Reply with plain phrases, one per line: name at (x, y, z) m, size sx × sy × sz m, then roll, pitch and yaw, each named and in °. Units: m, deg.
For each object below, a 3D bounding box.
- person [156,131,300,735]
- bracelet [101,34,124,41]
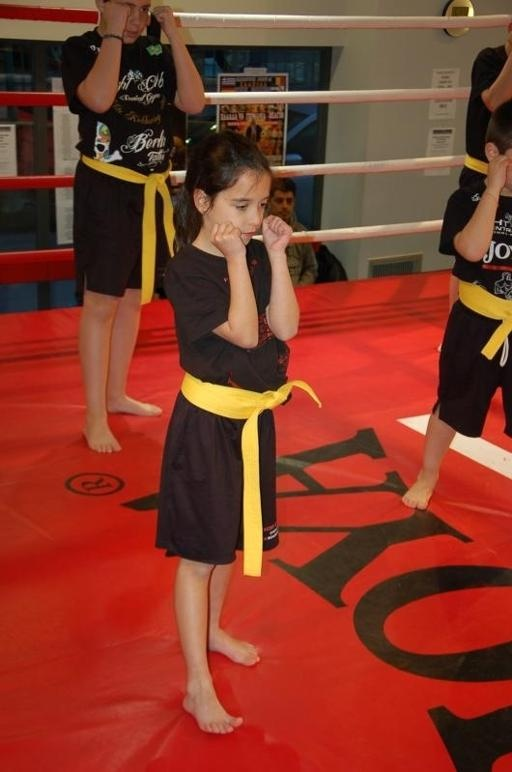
person at (-0.047, 0.056, 0.961) m, size 0.203 × 0.819 × 0.425 m, roll 4°, pitch 21°, yaw -3°
bracelet at (-0.341, -0.804, 1.478) m, size 0.030 × 0.007 × 0.029 m, roll 11°, pitch 20°, yaw 20°
